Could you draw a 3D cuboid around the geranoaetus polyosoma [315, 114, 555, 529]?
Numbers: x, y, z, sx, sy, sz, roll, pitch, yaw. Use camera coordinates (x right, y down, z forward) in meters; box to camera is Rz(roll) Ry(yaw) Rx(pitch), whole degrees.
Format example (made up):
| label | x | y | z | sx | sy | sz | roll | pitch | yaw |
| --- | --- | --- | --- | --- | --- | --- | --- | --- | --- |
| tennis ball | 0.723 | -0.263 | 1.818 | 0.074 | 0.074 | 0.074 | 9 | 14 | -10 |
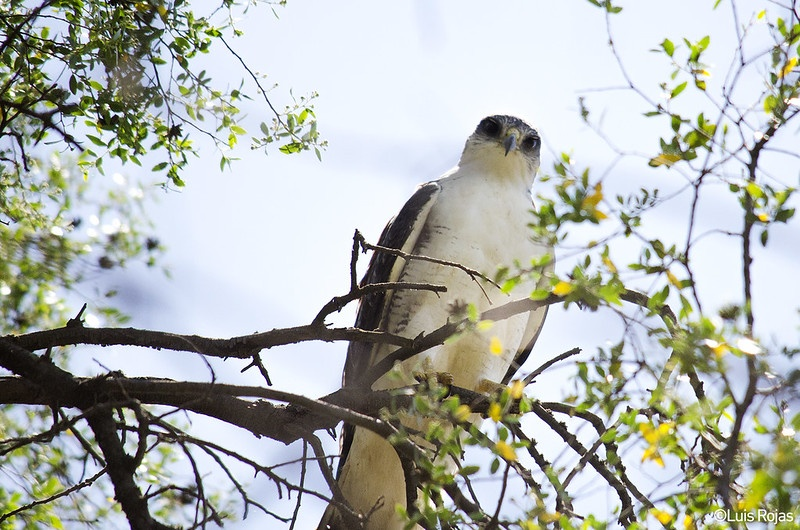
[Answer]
| label | x | y | z | sx | sy | sz | roll | pitch | yaw |
| --- | --- | --- | --- | --- | --- | --- | --- | --- | --- |
| geranoaetus polyosoma | 0.208 | 0.496 | 7.259 | 0.813 | 1.769 | 1.805 | 31 | -66 | -15 |
